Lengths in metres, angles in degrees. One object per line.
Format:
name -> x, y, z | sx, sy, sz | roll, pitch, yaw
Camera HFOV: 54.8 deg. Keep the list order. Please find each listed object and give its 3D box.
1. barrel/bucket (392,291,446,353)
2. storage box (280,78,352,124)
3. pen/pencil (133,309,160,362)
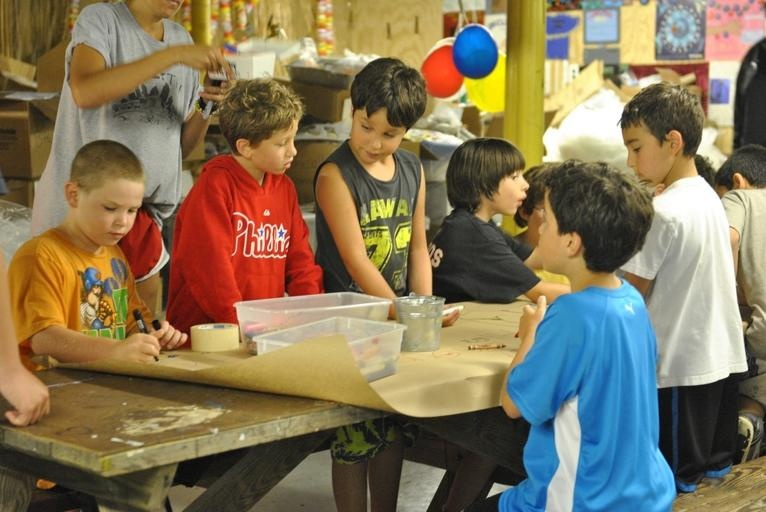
barrel/bucket -> 0.104, 0.201, 2.193 | 0.163, 0.153, 0.153 | 2, 5, 0
storage box -> -0.407, -1.100, 4.953 | 0.475, 0.225, 0.251 | -17, 53, -14
pen/pencil -> -0.685, 0.236, 2.135 | 0.030, 0.129, 0.021 | -27, -5, -36
